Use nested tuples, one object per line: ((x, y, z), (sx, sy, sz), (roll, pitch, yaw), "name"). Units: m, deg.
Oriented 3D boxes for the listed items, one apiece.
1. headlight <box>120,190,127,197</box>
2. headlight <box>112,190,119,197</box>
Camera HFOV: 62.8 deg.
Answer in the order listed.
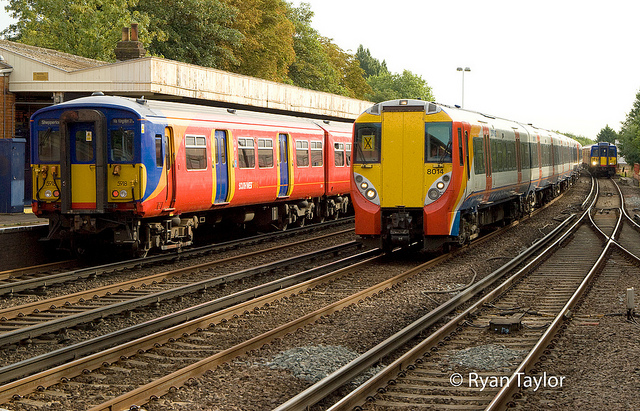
((-5.387, -0.319, 14.429), (0.154, 0.164, 0.037), (2, -2, 1), "headlight")
((-5.620, -0.325, 14.437), (0.203, 0.171, 0.042), (1, 4, 22), "headlight")
